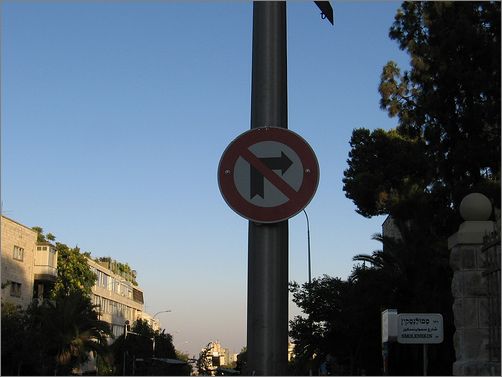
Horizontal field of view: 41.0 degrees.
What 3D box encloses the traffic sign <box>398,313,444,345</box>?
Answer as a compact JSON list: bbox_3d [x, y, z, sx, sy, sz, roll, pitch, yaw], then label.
[{"bbox_3d":[4.209,3.461,16.648,1.104,0.859,0.114,-4,-44,19],"label":"traffic sign"}]
